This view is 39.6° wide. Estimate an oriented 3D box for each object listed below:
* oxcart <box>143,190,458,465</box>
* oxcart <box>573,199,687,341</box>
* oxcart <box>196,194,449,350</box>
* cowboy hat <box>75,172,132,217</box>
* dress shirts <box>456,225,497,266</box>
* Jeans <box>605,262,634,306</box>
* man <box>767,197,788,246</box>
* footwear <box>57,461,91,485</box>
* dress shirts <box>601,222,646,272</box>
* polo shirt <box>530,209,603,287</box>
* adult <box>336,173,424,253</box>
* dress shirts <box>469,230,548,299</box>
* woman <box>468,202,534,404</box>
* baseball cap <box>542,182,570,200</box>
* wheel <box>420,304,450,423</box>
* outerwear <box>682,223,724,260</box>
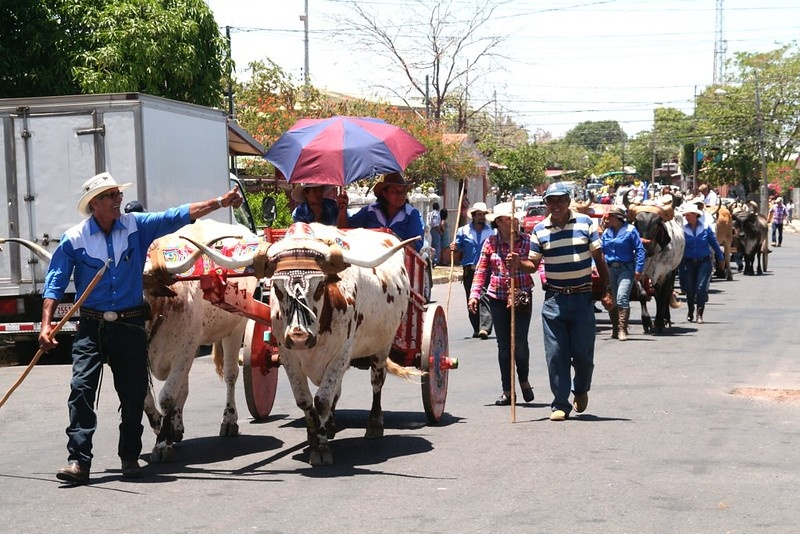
[{"bbox_3d":[-0.928,0.811,12.995,3.142,2.233,4.778,-1,-3,21],"label":"oxcart"},{"bbox_3d":[4.079,-0.242,21.268,1.256,2.222,4.352,-3,-10,19],"label":"oxcart"},{"bbox_3d":[-0.792,0.436,13.473,2.759,1.593,4.418,2,-3,8],"label":"oxcart"},{"bbox_3d":[-3.246,-0.850,11.713,0.635,0.239,0.542,-22,0,9],"label":"cowboy hat"},{"bbox_3d":[1.309,-0.451,18.808,0.882,0.835,0.482,2,-10,-3],"label":"dress shirts"},{"bbox_3d":[3.933,0.288,19.808,0.508,0.982,0.386,5,3,39],"label":"Jeans"},{"bbox_3d":[15.453,-2.019,45.357,0.952,2.002,0.665,3,3,25],"label":"man"},{"bbox_3d":[-3.369,2.125,11.438,0.326,0.261,0.212,-2,6,-19],"label":"footwear"},{"bbox_3d":[3.901,-0.392,19.374,1.073,0.863,0.544,-1,-3,35],"label":"dress shirts"},{"bbox_3d":[2.067,-0.265,13.881,0.860,0.976,0.301,0,6,6],"label":"polo shirt"},{"bbox_3d":[-0.139,-0.764,14.284,1.305,1.510,0.917,1,-7,-1],"label":"adult"},{"bbox_3d":[1.483,-0.086,15.252,1.356,0.960,0.497,1,-12,1],"label":"dress shirts"},{"bbox_3d":[1.412,0.441,14.785,1.104,2.732,0.805,0,-2,-1],"label":"woman"},{"bbox_3d":[1.963,-1.005,13.809,0.320,0.205,0.298,0,5,7],"label":"baseball cap"},{"bbox_3d":[0.543,1.207,14.080,0.441,1.376,1.468,-1,-12,-6],"label":"wheel"},{"bbox_3d":[6.049,-0.599,22.104,0.733,0.740,0.678,1,6,13],"label":"outerwear"}]
